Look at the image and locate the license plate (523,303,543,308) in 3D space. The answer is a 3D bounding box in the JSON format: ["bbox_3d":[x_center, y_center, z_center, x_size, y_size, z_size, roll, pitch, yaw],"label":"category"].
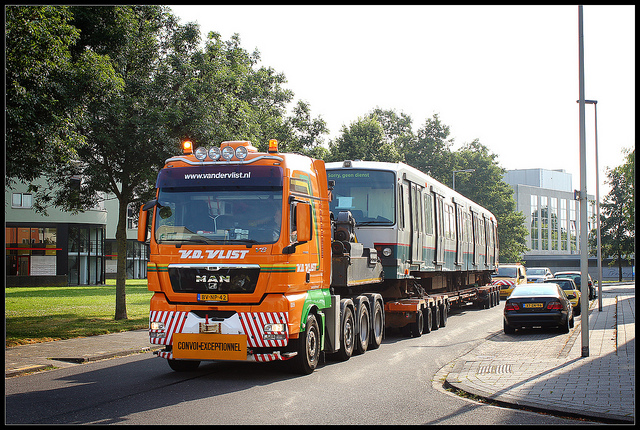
[{"bbox_3d":[7.299,3.096,18.095,0.669,0.146,0.024,-2,-5,0],"label":"license plate"}]

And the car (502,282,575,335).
[{"bbox_3d":[7.780,3.298,19.385,1.349,1.011,3.045,-2,-2,14],"label":"car"}]

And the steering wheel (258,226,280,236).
[{"bbox_3d":[-1.052,0.323,11.028,0.406,0.187,0.027,-3,-5,3],"label":"steering wheel"}]

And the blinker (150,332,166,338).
[{"bbox_3d":[-3.426,2.525,11.109,0.400,0.109,0.058,-5,-7,22],"label":"blinker"}]

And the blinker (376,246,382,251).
[{"bbox_3d":[1.812,1.029,16.308,0.188,0.191,0.102,-1,4,3],"label":"blinker"}]

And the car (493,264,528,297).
[{"bbox_3d":[12.970,4.321,36.705,2.604,2.375,4.470,-4,-9,24],"label":"car"}]

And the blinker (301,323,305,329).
[{"bbox_3d":[-0.371,2.361,11.274,0.115,0.053,0.161,0,-4,2],"label":"blinker"}]

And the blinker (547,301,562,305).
[{"bbox_3d":[8.064,3.015,18.107,0.450,0.115,0.075,-3,-6,2],"label":"blinker"}]

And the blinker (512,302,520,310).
[{"bbox_3d":[6.742,3.137,18.157,0.209,0.214,0.056,-26,-14,13],"label":"blinker"}]
